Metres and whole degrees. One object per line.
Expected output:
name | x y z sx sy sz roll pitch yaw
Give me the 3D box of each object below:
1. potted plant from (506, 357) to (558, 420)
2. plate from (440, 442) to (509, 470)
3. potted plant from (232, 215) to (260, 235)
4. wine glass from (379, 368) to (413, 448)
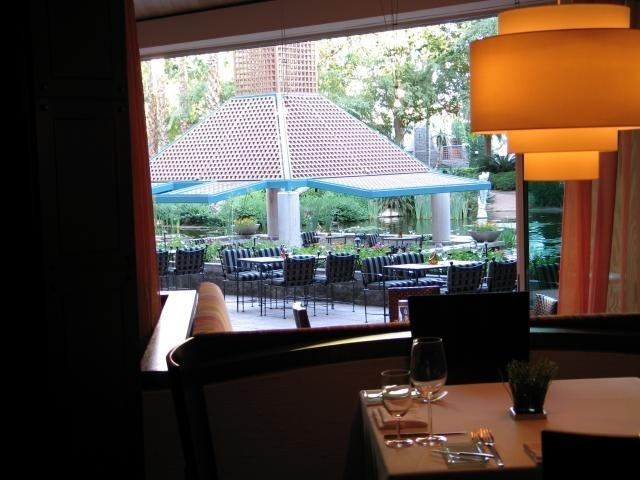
potted plant | 0.798 0.527 1.906 0.201 0.215 0.170 0 -4 -1
plate | 0.441 0.633 1.556 0.191 0.021 0.131 -2 6 6
potted plant | -1.917 -0.366 13.802 0.776 0.454 0.777 0 -2 -2
wine glass | 0.256 0.533 1.715 0.087 0.208 0.207 -2 6 9
